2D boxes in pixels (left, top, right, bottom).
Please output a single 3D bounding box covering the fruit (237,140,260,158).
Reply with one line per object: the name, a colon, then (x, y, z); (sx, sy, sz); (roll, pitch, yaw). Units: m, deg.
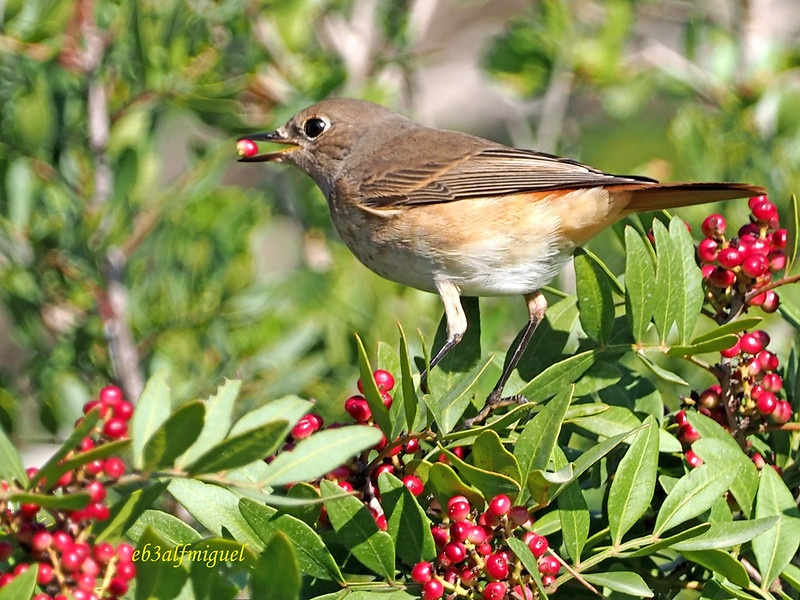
fruit: (-0.752, -0.748, 5.124); (0.092, 0.071, 0.075); (-23, 71, 41)
